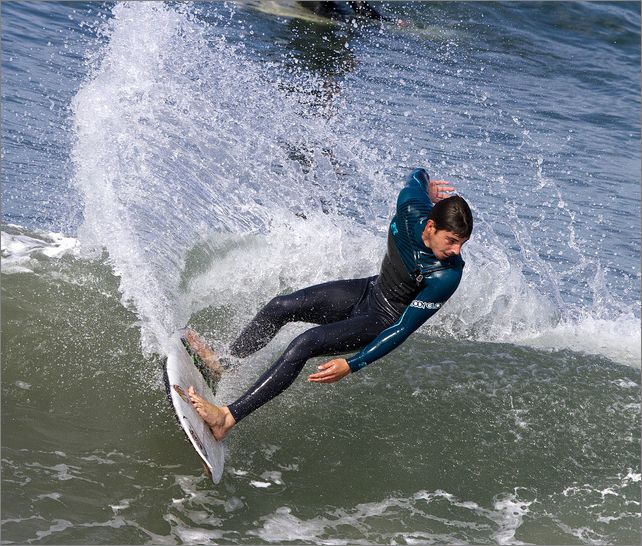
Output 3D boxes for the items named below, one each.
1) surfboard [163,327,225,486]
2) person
[{"bbox_3d":[-1.113,1.093,7.003,0.431,0.157,1.377,23,20,-38],"label":"surfboard"},{"bbox_3d":[0.169,0.312,7.337,1.413,2.483,1.067,19,15,-18],"label":"person"}]
